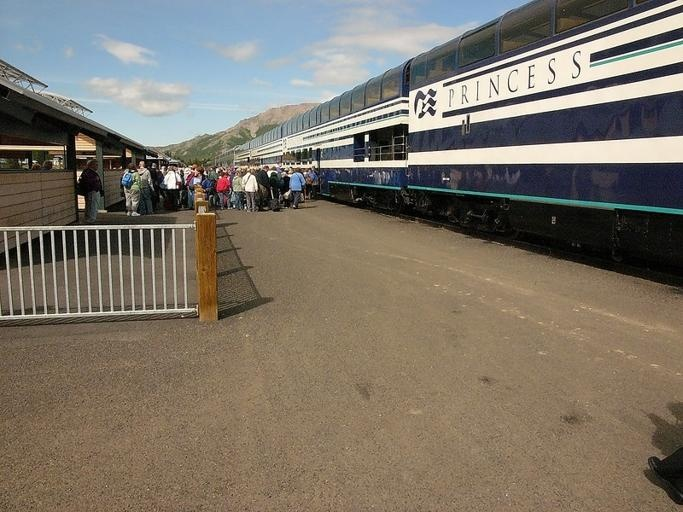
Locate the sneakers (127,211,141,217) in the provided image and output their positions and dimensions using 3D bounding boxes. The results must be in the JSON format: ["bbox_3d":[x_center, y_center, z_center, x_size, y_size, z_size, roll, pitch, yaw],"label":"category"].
[{"bbox_3d":[-8.905,-1.780,18.128,0.189,0.287,0.603,7,12,28],"label":"sneakers"}]
